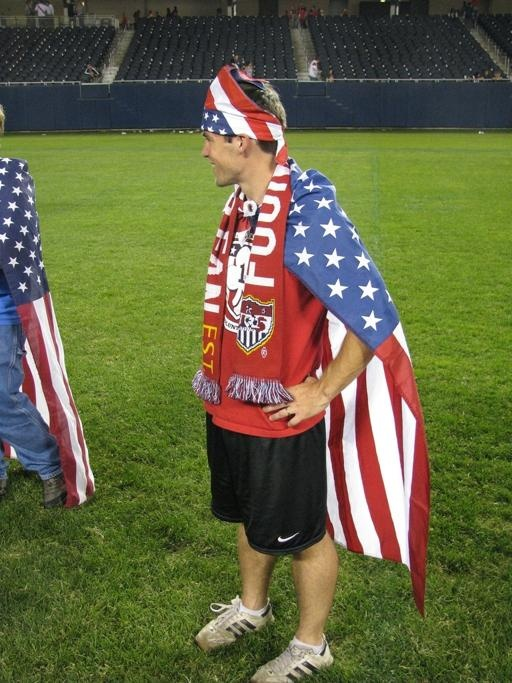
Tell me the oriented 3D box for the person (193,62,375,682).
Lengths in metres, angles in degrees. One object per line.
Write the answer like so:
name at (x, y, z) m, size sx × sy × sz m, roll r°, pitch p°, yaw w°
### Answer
person at (0.031, 0.172, 2.025) m, size 0.386 × 1.905 × 0.595 m, roll -12°, pitch 22°, yaw -32°

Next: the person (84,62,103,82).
person at (-6.885, -11.283, 28.215) m, size 0.726 × 0.773 × 2.005 m, roll -4°, pitch 17°, yaw -11°

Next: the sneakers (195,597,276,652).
sneakers at (-0.070, 0.996, 2.400) m, size 0.272 × 0.104 × 0.147 m, roll -5°, pitch 17°, yaw -12°
